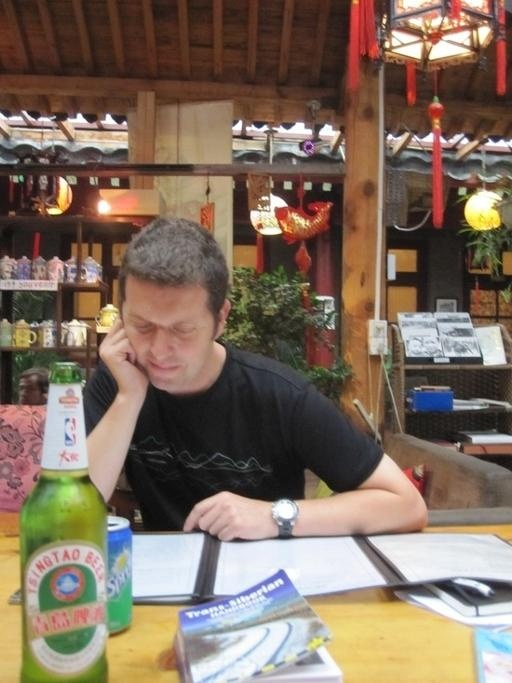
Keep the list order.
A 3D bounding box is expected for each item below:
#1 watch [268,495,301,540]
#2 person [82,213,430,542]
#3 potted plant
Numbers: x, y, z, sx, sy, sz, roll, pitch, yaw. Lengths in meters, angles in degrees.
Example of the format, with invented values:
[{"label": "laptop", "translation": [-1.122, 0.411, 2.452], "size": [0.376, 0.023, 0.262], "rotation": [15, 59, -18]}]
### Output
[{"label": "watch", "translation": [0.054, 0.330, 1.197], "size": [0.049, 0.055, 0.060], "rotation": [1, 38, 1]}, {"label": "person", "translation": [-0.052, 0.105, 1.478], "size": [0.663, 0.722, 0.601], "rotation": [-1, -3, -19]}, {"label": "potted plant", "translation": [0.163, 0.274, 4.374], "size": [1.061, 1.552, 1.199], "rotation": [-2, -11, 11]}]
